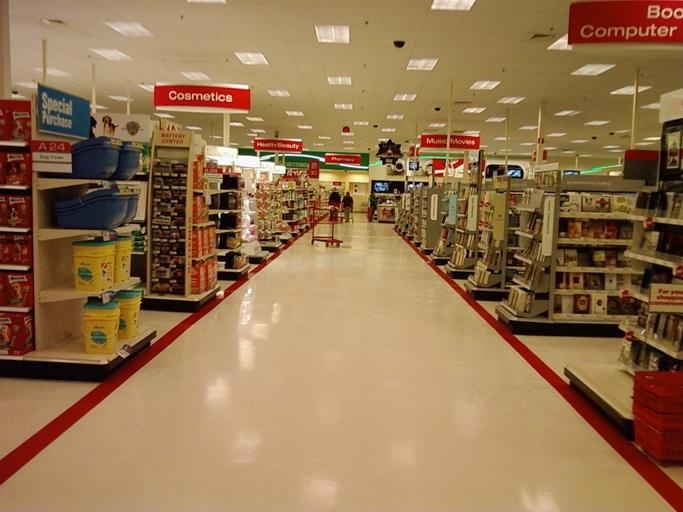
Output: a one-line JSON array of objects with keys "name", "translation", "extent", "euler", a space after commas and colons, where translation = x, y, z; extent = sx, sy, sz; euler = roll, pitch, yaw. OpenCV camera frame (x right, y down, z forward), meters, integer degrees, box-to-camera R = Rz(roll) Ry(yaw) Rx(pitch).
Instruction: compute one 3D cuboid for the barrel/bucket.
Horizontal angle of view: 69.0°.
[{"name": "barrel/bucket", "translation": [-2.509, 0.515, 5.254], "extent": [0.542, 1.139, 1.205], "euler": [0, 5, -6]}]
